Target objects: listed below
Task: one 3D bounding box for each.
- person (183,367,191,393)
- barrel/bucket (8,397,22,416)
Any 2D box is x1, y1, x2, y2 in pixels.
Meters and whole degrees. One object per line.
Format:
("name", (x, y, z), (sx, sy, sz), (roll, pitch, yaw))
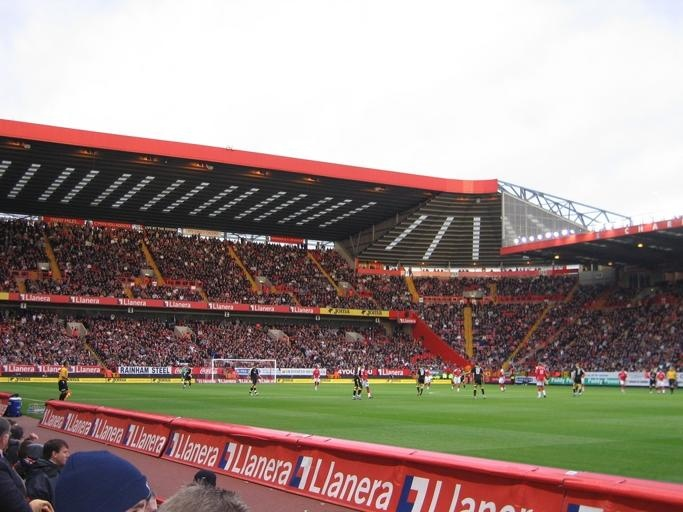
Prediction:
("person", (-8.769, 6.795, 45.999), (0.445, 1.392, 2.387), (2, 2, -11))
("barrel/bucket", (-9.710, 4.436, 23.979), (0.406, 0.661, 0.535), (1, 3, -28))
